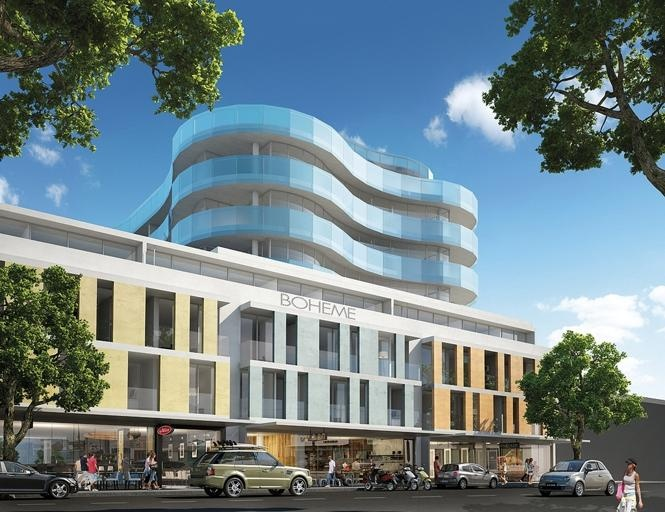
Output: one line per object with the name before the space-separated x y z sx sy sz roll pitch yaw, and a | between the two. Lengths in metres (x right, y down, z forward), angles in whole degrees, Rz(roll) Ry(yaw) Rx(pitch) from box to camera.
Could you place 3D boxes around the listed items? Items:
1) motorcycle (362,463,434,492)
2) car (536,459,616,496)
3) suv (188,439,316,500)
motorcycle | 3.087 10.703 49.902 3.067 1.874 1.615 3 -18 -14
car | 10.790 9.689 46.478 2.726 1.934 2.585 -7 -15 35
suv | -3.545 8.768 43.019 4.623 1.941 2.237 5 -13 -32
